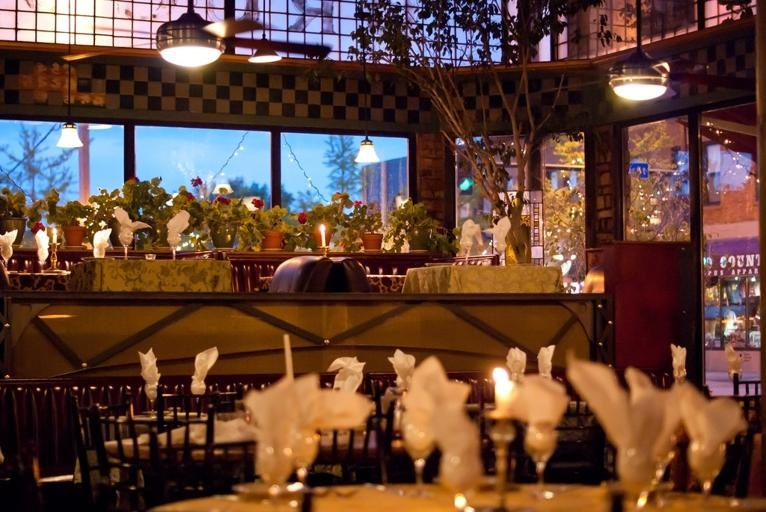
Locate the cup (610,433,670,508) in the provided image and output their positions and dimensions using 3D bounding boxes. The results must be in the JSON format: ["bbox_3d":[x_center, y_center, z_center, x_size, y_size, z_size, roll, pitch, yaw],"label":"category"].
[{"bbox_3d":[1.103,0.892,4.236,0.219,0.310,0.368,-3,-1,16],"label":"cup"}]

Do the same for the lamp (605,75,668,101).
[{"bbox_3d":[2.245,-1.483,8.836,0.408,0.195,0.499,-4,-2,34],"label":"lamp"}]
